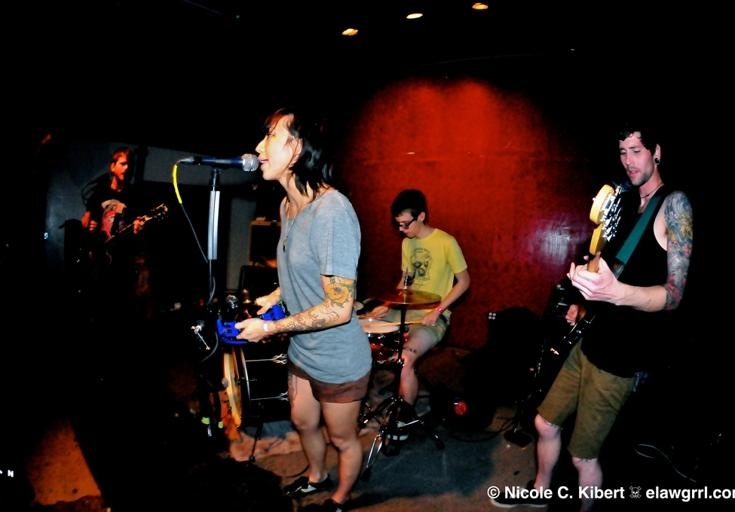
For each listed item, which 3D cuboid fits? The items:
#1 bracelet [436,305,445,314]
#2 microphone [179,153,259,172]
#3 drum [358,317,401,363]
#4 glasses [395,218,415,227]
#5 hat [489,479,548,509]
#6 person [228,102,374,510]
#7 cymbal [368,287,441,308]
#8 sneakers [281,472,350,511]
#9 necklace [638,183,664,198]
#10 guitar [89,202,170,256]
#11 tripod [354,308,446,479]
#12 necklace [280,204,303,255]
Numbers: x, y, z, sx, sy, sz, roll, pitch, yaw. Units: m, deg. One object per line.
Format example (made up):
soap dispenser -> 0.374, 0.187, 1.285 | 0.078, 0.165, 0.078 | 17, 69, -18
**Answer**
bracelet -> 0.712, 0.518, 5.400 | 0.099, 0.031, 0.130 | 0, 4, 2
microphone -> -1.071, -0.690, 4.017 | 0.559, 0.110, 0.246 | 3, 13, 22
drum -> 0.137, 0.810, 5.191 | 0.382, 0.334, 0.323 | -8, -5, -43
glasses -> 0.367, -0.345, 5.605 | 0.231, 0.094, 0.131 | 7, 15, 38
hat -> 1.317, 2.067, 4.751 | 0.576, 0.223, 0.191 | 1, -10, 10
person -> -0.394, 0.510, 4.149 | 0.790, 3.173, 0.621 | 1, 14, 18
cymbal -> 0.391, 0.438, 5.145 | 0.557, 0.187, 0.509 | 0, 12, 9
sneakers -> -0.462, 1.982, 4.570 | 0.388, 0.115, 0.285 | 0, 29, -28
necklace -> 2.085, -0.480, 4.004 | 0.059, 0.097, 0.174 | -13, 16, -37
guitar -> -2.724, -0.352, 6.355 | 0.832, 0.382, 0.117 | -18, -17, 3
tripod -> 0.373, 1.209, 5.927 | 1.418, 1.714, 1.192 | 2, -2, -3
necklace -> -0.618, -0.216, 4.157 | 0.087, 0.330, 0.244 | 8, 1, -39
